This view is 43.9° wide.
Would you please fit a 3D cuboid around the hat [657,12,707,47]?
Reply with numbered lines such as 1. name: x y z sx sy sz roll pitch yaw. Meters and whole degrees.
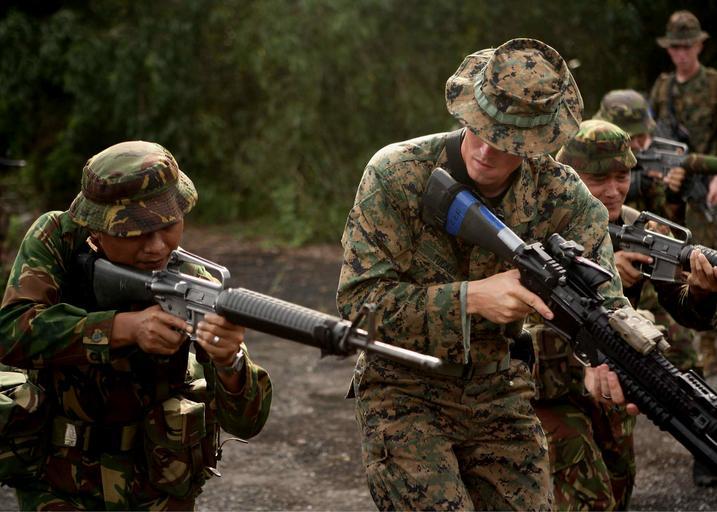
1. hat: 4.007 -2.797 11.002 0.478 0.329 0.527 -2 17 28

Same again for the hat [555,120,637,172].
1. hat: 1.736 -0.778 6.426 0.404 0.248 0.571 -1 7 -16

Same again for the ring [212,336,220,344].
1. ring: -0.771 0.454 4.836 0.024 0.033 0.029 3 -7 -30

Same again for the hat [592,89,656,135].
1. hat: 2.552 -1.416 8.513 0.595 0.331 0.561 -5 27 14

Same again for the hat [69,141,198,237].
1. hat: -1.301 -0.320 5.107 0.529 0.236 0.612 0 42 4
